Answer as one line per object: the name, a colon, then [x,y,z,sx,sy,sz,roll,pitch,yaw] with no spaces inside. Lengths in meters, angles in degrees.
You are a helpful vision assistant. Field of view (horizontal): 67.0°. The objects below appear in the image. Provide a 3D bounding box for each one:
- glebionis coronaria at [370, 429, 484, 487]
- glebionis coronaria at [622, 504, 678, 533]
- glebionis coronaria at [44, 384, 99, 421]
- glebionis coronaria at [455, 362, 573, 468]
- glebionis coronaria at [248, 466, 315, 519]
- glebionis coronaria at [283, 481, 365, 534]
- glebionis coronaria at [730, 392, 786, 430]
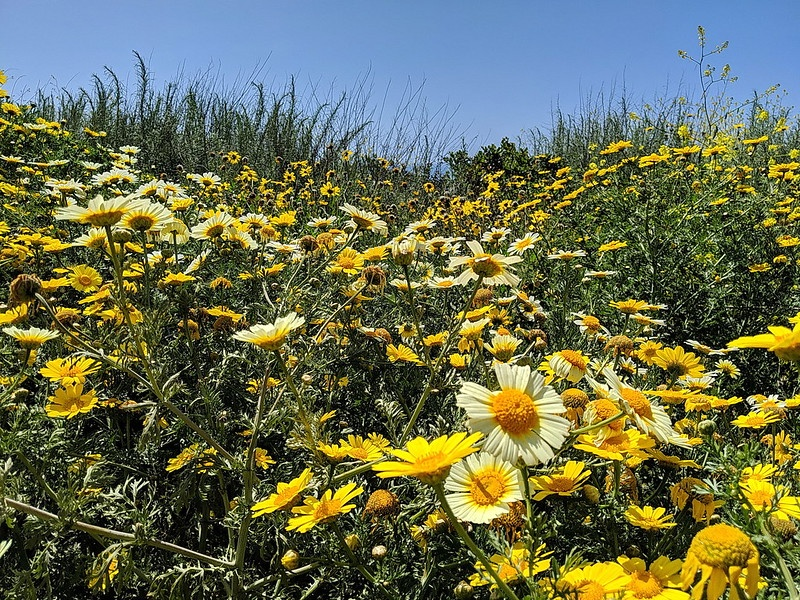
glebionis coronaria: [0.083,0.524,2.003,0.338,0.195,0.245,-1,9,-12]
glebionis coronaria: [0.959,0.837,2.323,0.140,0.057,0.148,1,15,23]
glebionis coronaria: [-1.521,0.475,2.773,0.198,0.156,0.204,5,10,26]
glebionis coronaria: [0.386,0.376,2.053,0.339,0.354,0.094,-34,-21,-20]
glebionis coronaria: [-0.457,0.747,2.330,0.161,0.231,0.163,-3,5,10]
glebionis coronaria: [-0.292,0.774,2.276,0.237,0.137,0.204,-7,12,-41]
glebionis coronaria: [1.845,0.576,3.107,0.239,0.091,0.251,-13,28,49]
